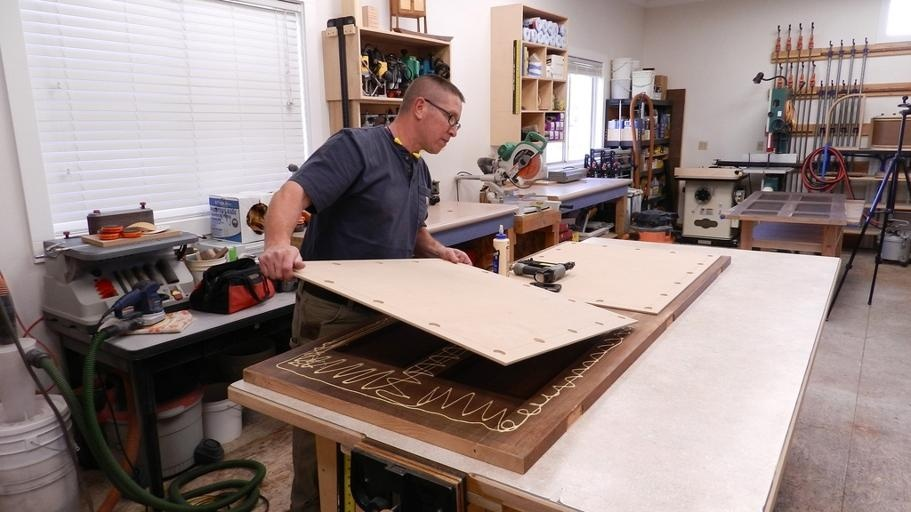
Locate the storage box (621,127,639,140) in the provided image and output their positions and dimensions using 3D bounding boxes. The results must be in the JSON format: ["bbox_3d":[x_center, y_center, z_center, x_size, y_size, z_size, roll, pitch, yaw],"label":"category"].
[{"bbox_3d":[2.608,-1.838,8.375,0.258,0.220,0.192,6,13,44],"label":"storage box"}]

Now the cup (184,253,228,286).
[{"bbox_3d":[-1.896,0.089,4.204,0.257,0.176,0.268,1,9,0],"label":"cup"}]

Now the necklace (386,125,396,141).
[{"bbox_3d":[-0.404,-0.765,3.465,0.034,0.093,0.070,-39,3,12],"label":"necklace"}]

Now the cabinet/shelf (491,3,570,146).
[{"bbox_3d":[0.860,-2.132,6.655,0.556,1.593,1.032,15,24,42],"label":"cabinet/shelf"}]

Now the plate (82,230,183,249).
[{"bbox_3d":[-2.271,-0.130,3.904,0.605,0.063,0.184,-9,17,-25],"label":"plate"}]

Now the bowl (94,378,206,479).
[{"bbox_3d":[-2.223,1.223,4.206,0.771,0.557,0.708,-1,9,0],"label":"bowl"}]

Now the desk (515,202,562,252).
[{"bbox_3d":[0.804,-0.294,5.413,0.277,0.383,0.460,7,18,26],"label":"desk"}]

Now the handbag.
[{"bbox_3d":[-1.559,0.223,4.103,0.500,0.272,0.666,7,13,22],"label":"handbag"}]

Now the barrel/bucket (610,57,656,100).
[{"bbox_3d":[2.665,-2.710,8.494,0.861,0.631,0.592,9,25,25],"label":"barrel/bucket"}]
